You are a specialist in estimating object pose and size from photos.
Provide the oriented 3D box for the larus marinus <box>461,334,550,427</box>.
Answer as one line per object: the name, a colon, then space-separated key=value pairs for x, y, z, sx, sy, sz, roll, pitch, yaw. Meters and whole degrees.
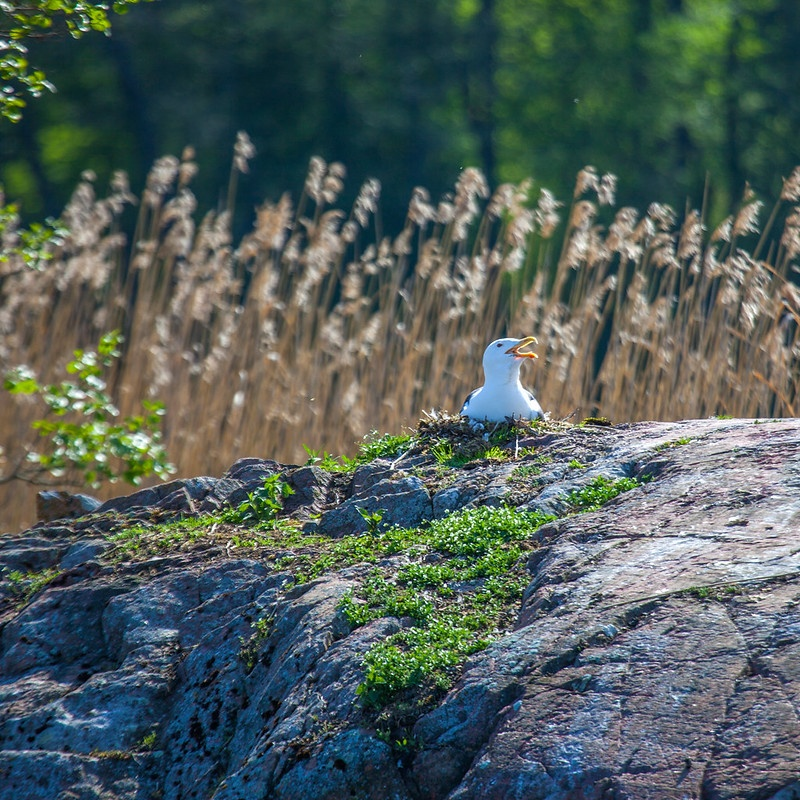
larus marinus: x=0.625 y=-0.032 z=9.382 sx=0.591 sy=0.629 sz=0.905 roll=3 pitch=-7 yaw=-4
